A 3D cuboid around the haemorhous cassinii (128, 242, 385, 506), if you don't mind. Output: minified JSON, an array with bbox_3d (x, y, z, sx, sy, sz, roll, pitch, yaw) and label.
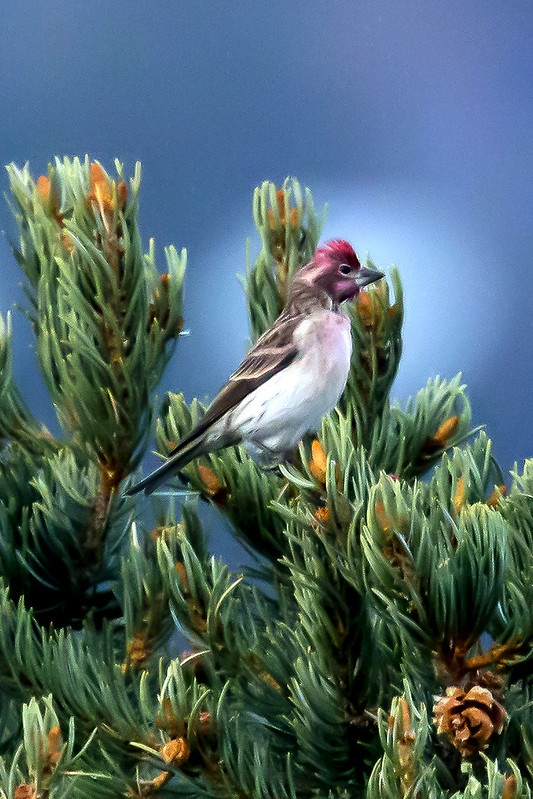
[{"bbox_3d":[-0.013,-0.023,1.663,0.309,0.348,0.129,-7,-24,12],"label":"haemorhous cassinii"}]
